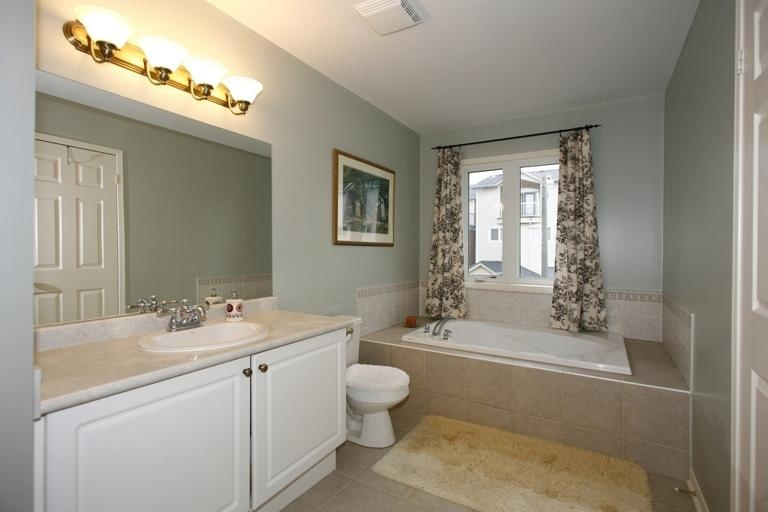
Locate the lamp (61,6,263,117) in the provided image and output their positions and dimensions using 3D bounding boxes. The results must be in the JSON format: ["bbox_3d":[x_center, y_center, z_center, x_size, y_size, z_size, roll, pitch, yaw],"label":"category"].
[{"bbox_3d":[-1.314,-1.182,3.024,1.068,0.436,0.280,-3,3,-41],"label":"lamp"}]

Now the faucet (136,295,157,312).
[{"bbox_3d":[-1.440,0.295,3.012,0.076,0.103,0.104,3,1,23],"label":"faucet"}]

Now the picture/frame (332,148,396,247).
[{"bbox_3d":[-0.213,-0.547,4.558,0.043,0.757,0.969,-2,-4,28],"label":"picture/frame"}]

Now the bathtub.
[{"bbox_3d":[1.288,0.778,4.428,1.304,0.226,0.685,-1,0,26],"label":"bathtub"}]

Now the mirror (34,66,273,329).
[{"bbox_3d":[-1.454,-0.359,3.008,0.064,1.514,1.779,1,0,32],"label":"mirror"}]

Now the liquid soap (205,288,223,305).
[{"bbox_3d":[-1.151,0.264,3.316,0.100,0.113,0.100,8,11,42],"label":"liquid soap"}]

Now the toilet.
[{"bbox_3d":[-0.067,1.163,3.877,0.574,0.518,0.513,-2,0,29],"label":"toilet"}]
